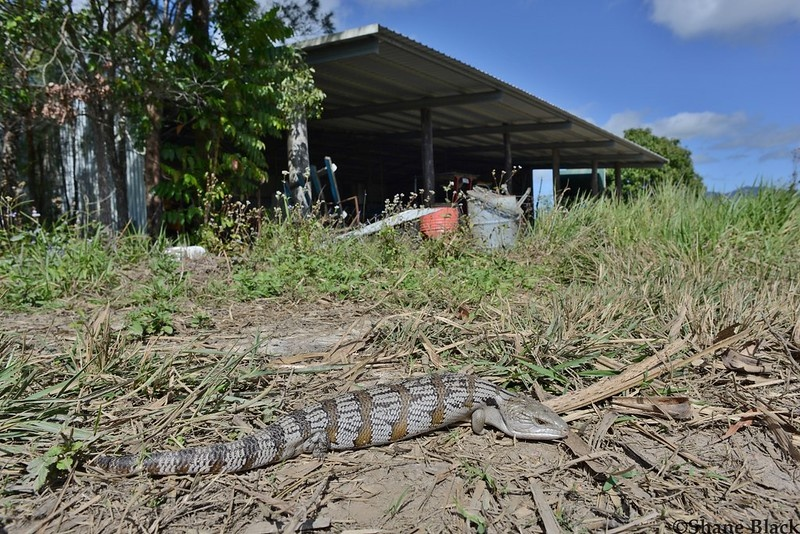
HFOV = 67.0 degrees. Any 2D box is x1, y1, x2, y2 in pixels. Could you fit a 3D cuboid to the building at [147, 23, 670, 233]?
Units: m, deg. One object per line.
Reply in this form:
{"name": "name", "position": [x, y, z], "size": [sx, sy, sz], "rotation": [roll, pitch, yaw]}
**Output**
{"name": "building", "position": [0.690, -3.198, 17.310], "size": [8.798, 3.470, 18.799], "rotation": [4, 10, 32]}
